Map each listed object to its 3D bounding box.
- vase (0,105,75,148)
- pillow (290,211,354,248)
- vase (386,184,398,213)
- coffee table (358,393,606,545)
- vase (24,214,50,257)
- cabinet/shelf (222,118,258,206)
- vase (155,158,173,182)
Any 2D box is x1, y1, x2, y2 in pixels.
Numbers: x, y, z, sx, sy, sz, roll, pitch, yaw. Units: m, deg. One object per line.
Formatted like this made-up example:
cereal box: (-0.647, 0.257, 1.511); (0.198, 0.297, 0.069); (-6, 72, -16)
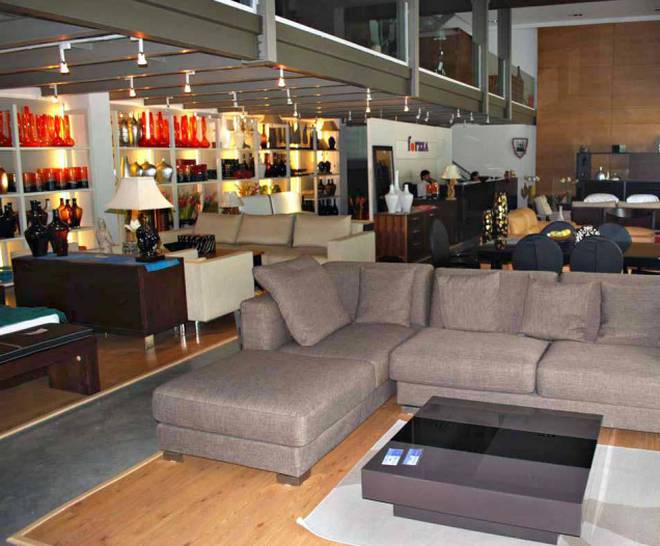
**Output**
vase: (-3.860, -1.896, 7.126); (0.329, 0.510, 1.244); (2, 3, 26)
pillow: (-0.136, -0.587, 7.470); (0.640, 0.389, 0.202); (1, -16, 25)
vase: (1.071, -1.268, 9.122); (0.235, 0.456, 0.360); (-1, 12, 6)
coffee table: (0.708, 0.892, 2.465); (0.713, 0.215, 0.702); (2, 10, 28)
vase: (-3.113, -0.403, 5.638); (0.246, 0.443, 0.219); (-7, 13, -21)
cabinet/shelf: (-1.756, -2.286, 10.349); (0.978, 1.552, 0.566); (-8, 14, -27)
vase: (-2.770, -1.702, 8.928); (0.339, 0.435, 0.342); (-1, -1, -7)
